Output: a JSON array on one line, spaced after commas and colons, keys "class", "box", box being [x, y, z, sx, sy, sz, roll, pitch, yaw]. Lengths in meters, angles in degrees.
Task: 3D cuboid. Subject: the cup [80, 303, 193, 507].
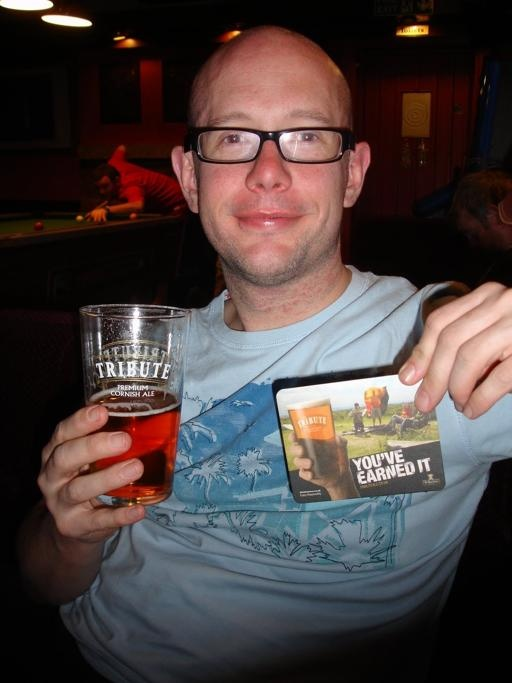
[{"class": "cup", "box": [-0.147, 0.083, 0.672, 0.139, 0.237, 0.123, -5, 22, -7]}]
